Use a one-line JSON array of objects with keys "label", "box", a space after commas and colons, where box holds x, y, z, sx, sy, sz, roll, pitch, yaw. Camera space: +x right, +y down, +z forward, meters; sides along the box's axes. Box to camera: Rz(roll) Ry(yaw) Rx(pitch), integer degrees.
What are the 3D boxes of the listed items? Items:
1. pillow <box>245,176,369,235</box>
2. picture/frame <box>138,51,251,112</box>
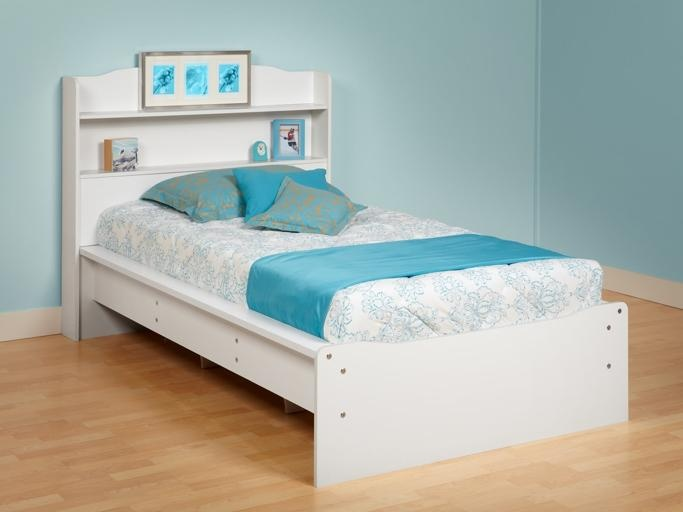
[{"label": "pillow", "box": [-0.175, -0.246, 3.203, 0.405, 0.091, 0.398, -15, 26, -40]}, {"label": "picture/frame", "box": [-1.012, -1.145, 3.830, 0.582, 0.238, 0.047, -4, 16, -20]}]
